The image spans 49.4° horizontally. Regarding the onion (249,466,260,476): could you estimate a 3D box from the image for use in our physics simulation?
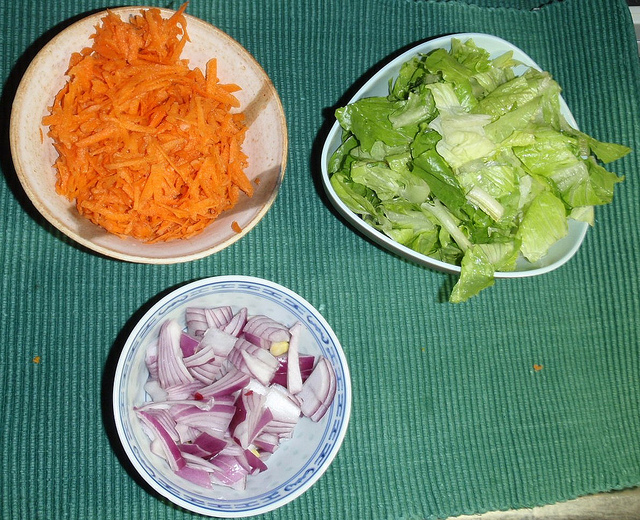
[{"bbox_3d":[-0.135,0.434,1.416,0.016,0.017,0.012,3,52,-1],"label":"onion"}]

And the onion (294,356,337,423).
[{"bbox_3d":[0.002,0.284,1.447,0.114,0.066,0.033,-27,55,-15],"label":"onion"}]

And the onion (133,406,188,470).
[{"bbox_3d":[-0.323,0.359,1.381,0.026,0.050,0.126,-38,88,6],"label":"onion"}]

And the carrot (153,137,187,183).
[{"bbox_3d":[-0.341,-0.225,1.548,0.017,0.021,0.126,-50,118,-28],"label":"carrot"}]

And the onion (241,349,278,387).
[{"bbox_3d":[-0.129,0.223,1.430,0.082,0.021,0.050,47,70,-10],"label":"onion"}]

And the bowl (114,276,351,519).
[{"bbox_3d":[-0.171,0.281,1.421,0.473,0.176,0.509,0,84,-4],"label":"bowl"}]

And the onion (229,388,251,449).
[{"bbox_3d":[-0.161,0.324,1.402,0.034,0.043,0.120,8,73,-14],"label":"onion"}]

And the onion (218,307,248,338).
[{"bbox_3d":[-0.181,0.137,1.474,0.030,0.033,0.089,36,86,7],"label":"onion"}]

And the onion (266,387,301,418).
[{"bbox_3d":[-0.079,0.295,1.423,0.073,0.022,0.046,31,76,-2],"label":"onion"}]

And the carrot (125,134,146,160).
[{"bbox_3d":[-0.412,-0.252,1.542,0.016,0.056,0.056,0,86,31],"label":"carrot"}]

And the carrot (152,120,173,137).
[{"bbox_3d":[-0.355,-0.296,1.550,0.044,0.011,0.028,-36,92,-5],"label":"carrot"}]

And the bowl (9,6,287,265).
[{"bbox_3d":[-0.361,-0.260,1.524,0.573,0.191,0.553,1,78,-4],"label":"bowl"}]

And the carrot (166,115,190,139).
[{"bbox_3d":[-0.323,-0.301,1.549,0.054,0.032,0.014,44,53,-20],"label":"carrot"}]
